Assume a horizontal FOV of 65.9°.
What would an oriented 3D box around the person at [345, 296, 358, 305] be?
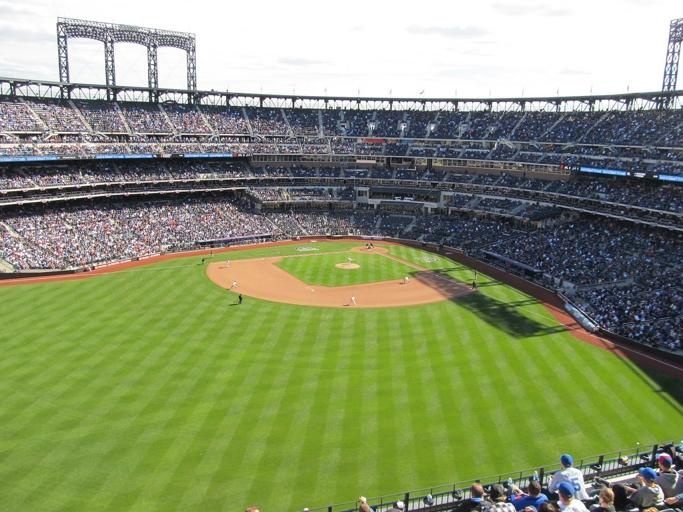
[{"bbox_3d":[1.083,4.397,51.973,1.229,0.807,0.929,0,9,-20],"label":"person"}]
